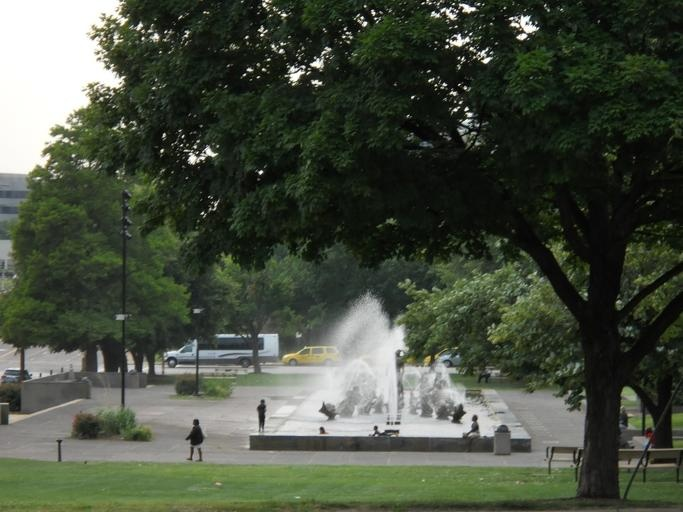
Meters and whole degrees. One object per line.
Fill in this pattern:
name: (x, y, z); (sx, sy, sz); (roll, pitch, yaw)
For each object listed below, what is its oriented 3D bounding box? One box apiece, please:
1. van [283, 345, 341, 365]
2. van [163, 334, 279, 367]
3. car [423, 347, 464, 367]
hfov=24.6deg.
van: (-1.672, 6.165, 96.381); (2.827, 0.962, 1.373); (2, -2, 4)
van: (-6.926, 5.730, 95.618); (2.803, 2.714, 8.026); (-8, -14, 34)
car: (5.631, 5.776, 89.451); (2.398, 1.124, 1.413); (4, -3, -14)
